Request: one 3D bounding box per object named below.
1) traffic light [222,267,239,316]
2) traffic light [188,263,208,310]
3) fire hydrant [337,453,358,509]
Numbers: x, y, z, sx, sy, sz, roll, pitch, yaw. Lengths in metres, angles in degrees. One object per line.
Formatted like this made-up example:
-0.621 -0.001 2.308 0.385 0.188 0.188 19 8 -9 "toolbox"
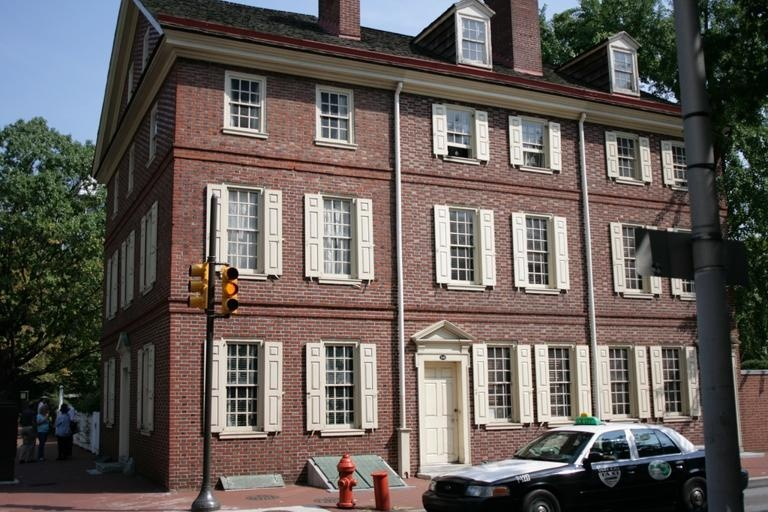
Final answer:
-4.190 0.917 23.130 0.401 1.323 0.532 2 -15 -14 "traffic light"
-5.075 0.795 23.401 0.536 1.303 0.846 1 -15 -13 "traffic light"
-1.078 6.418 24.191 0.504 1.470 0.840 -1 -14 -5 "fire hydrant"
